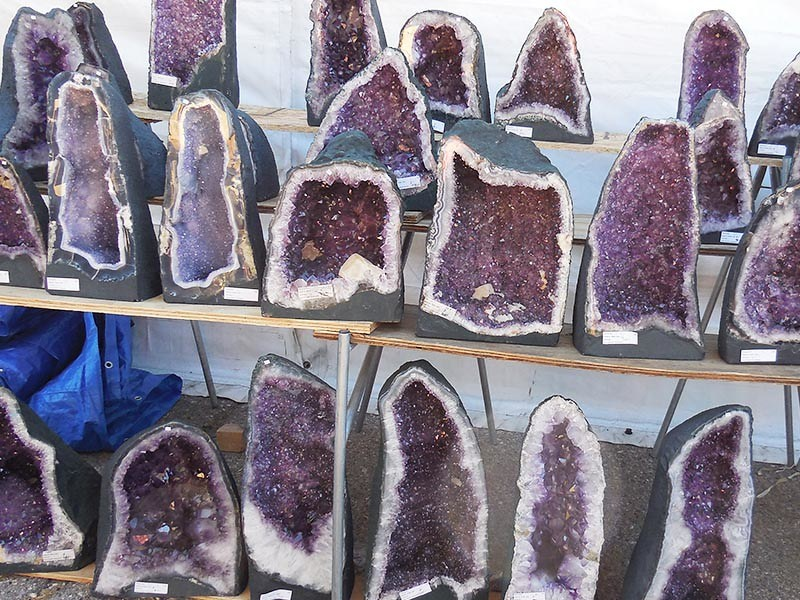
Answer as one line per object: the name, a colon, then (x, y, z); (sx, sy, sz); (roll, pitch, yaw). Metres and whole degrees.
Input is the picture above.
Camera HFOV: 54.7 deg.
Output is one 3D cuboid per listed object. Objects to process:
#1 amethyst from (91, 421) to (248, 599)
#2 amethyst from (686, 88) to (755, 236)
amethyst: (-0.643, 0.550, 2.175); (0.403, 0.505, 0.154); (1, -2, -3)
amethyst: (0.979, -0.395, 2.351); (0.243, 0.502, 0.107); (0, 27, 17)
